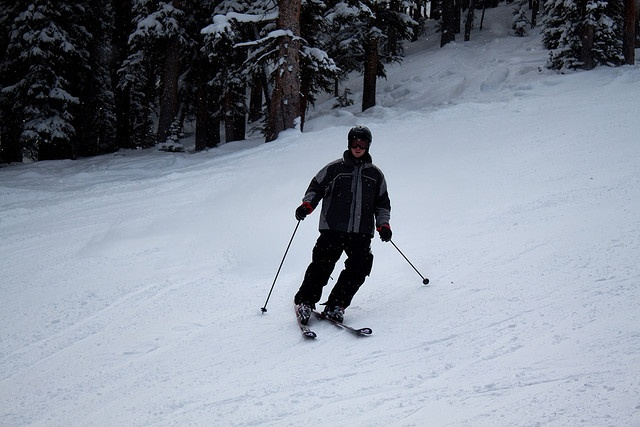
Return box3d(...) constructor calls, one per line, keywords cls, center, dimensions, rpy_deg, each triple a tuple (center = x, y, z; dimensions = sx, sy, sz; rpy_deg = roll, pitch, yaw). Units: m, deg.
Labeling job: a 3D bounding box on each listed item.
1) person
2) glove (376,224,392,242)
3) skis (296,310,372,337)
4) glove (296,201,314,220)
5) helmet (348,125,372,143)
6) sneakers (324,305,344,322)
box3d(cls="person", center=(0.403, 0.167, 9.963), dimensions=(1.588, 3.247, 0.788), rpy_deg=(-2, 9, 6))
box3d(cls="glove", center=(1.125, 0.343, 10.084), dimensions=(0.227, 0.321, 0.346), rpy_deg=(-1, 9, 9))
box3d(cls="skis", center=(0.211, 1.886, 9.796), dimensions=(0.228, 0.199, 1.505), rpy_deg=(6, 4, -32))
box3d(cls="glove", center=(-0.304, -0.055, 10.067), dimensions=(0.330, 0.263, 0.139), rpy_deg=(-36, 19, -7))
box3d(cls="helmet", center=(0.705, -1.393, 10.142), dimensions=(0.287, 0.296, 0.349), rpy_deg=(6, 8, 3))
box3d(cls="sneakers", center=(0.254, 1.733, 9.909), dimensions=(0.214, 0.132, 0.339), rpy_deg=(5, -5, -31))
